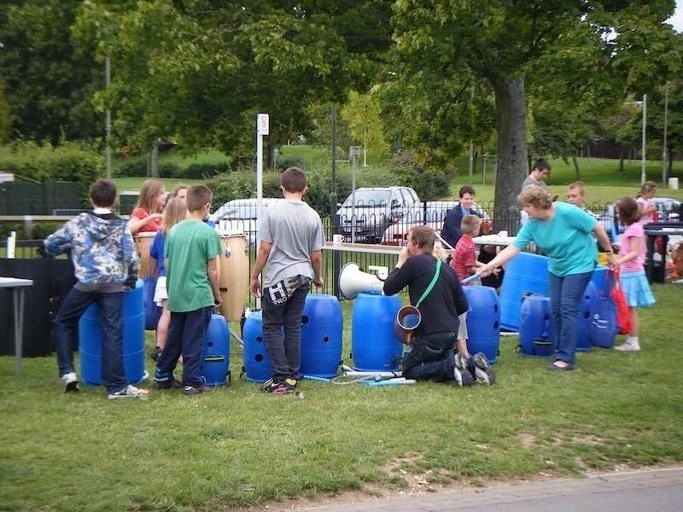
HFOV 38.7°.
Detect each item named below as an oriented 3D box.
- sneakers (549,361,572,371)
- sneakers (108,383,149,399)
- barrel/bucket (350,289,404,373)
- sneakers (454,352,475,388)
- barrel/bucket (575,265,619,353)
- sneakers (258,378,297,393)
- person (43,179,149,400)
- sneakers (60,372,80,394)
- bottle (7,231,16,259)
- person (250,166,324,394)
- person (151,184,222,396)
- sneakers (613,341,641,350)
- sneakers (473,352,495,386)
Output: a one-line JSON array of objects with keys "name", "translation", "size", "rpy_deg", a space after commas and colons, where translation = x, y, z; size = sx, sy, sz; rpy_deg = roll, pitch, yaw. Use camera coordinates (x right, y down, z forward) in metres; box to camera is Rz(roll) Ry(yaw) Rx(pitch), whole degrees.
[{"name": "sneakers", "translation": [3.054, 1.521, 13.443], "size": [0.306, 0.137, 0.095], "rpy_deg": [-2, -2, 12]}, {"name": "sneakers", "translation": [-2.689, 1.721, 12.289], "size": [0.507, 0.200, 0.179], "rpy_deg": [-3, 2, -2]}, {"name": "barrel/bucket", "translation": [0.452, 1.046, 13.150], "size": [0.994, 1.314, 0.920], "rpy_deg": [1, 1, 0]}, {"name": "sneakers", "translation": [1.575, 1.517, 12.786], "size": [0.186, 0.495, 0.213], "rpy_deg": [-10, -24, -27]}, {"name": "barrel/bucket", "translation": [3.771, 0.855, 14.273], "size": [0.821, 1.092, 1.204], "rpy_deg": [1, -5, 6]}, {"name": "sneakers", "translation": [-0.806, 1.674, 12.476], "size": [0.444, 0.191, 0.225], "rpy_deg": [-1, -2, -9]}, {"name": "person", "translation": [-3.089, 0.429, 12.283], "size": [1.150, 2.754, 0.337], "rpy_deg": [-1, -2, -8]}, {"name": "sneakers", "translation": [-3.478, 1.624, 12.378], "size": [0.139, 0.148, 0.352], "rpy_deg": [-8, -2, -5]}, {"name": "bottle", "translation": [-4.839, -0.164, 14.149], "size": [0.113, 0.423, 0.978], "rpy_deg": [0, -2, -19]}, {"name": "person", "translation": [-0.710, 0.297, 12.637], "size": [0.947, 2.949, 0.407], "rpy_deg": [-1, -2, -5]}, {"name": "person", "translation": [-1.990, 0.430, 12.527], "size": [0.857, 2.678, 0.382], "rpy_deg": [-1, -2, 3]}, {"name": "sneakers", "translation": [4.246, 1.327, 14.471], "size": [0.405, 0.213, 0.147], "rpy_deg": [1, 1, 25]}, {"name": "sneakers", "translation": [1.884, 1.513, 12.849], "size": [0.273, 0.410, 0.151], "rpy_deg": [-26, 2, -22]}]
